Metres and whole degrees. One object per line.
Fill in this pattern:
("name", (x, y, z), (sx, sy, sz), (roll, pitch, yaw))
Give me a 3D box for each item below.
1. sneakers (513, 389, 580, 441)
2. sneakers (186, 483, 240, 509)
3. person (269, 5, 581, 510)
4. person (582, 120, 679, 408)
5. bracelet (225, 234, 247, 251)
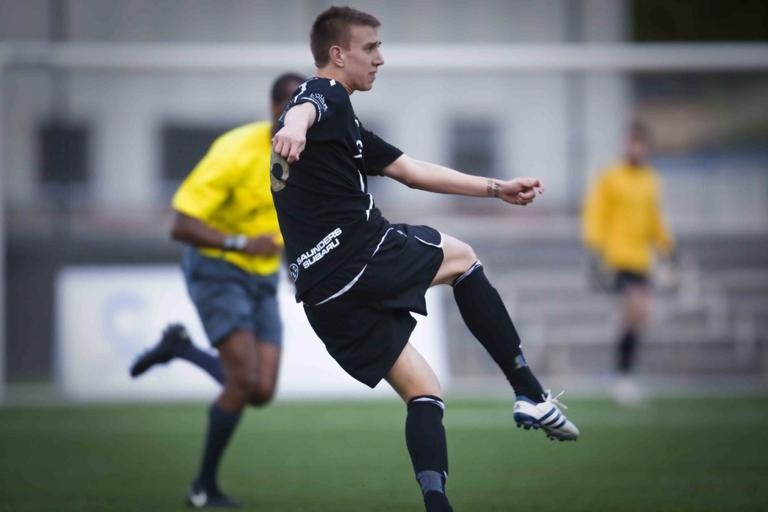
("sneakers", (0.998, 0.994, 8.134), (0.481, 0.264, 0.232), (25, -17, -23))
("sneakers", (-1.133, 1.559, 8.553), (0.400, 0.252, 0.137), (-1, -7, -5))
("person", (0.095, -0.033, 7.849), (1.552, 2.867, 0.655), (0, 7, -6))
("person", (1.907, 0.043, 10.535), (0.484, 2.160, 0.649), (-4, 9, -38))
("bracelet", (-0.991, -0.082, 8.703), (0.102, 0.110, 0.104), (-7, 42, 7))
